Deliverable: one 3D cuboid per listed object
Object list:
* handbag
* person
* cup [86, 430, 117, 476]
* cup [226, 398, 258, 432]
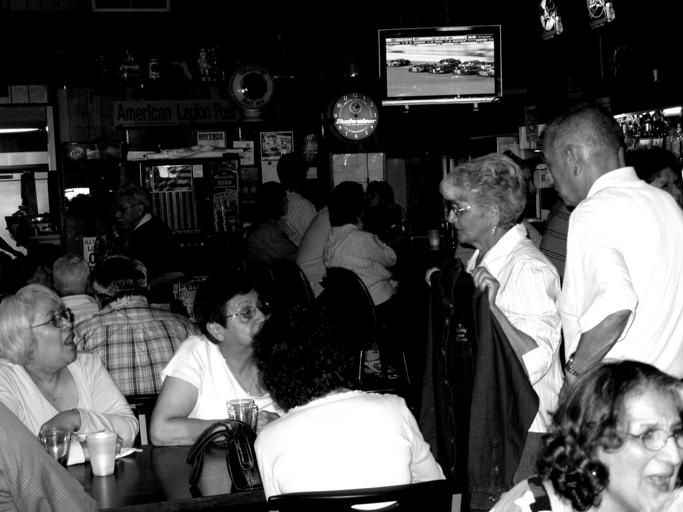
[{"bbox_3d":[-0.436,0.722,2.545,0.255,0.260,0.285,-1,0,-14],"label":"handbag"},{"bbox_3d":[0.500,0.123,2.602,1.523,1.341,0.850,-1,0,-8],"label":"person"},{"bbox_3d":[-0.907,0.747,2.616,0.123,0.163,0.155,-6,-11,20],"label":"cup"},{"bbox_3d":[-0.389,0.615,2.737,0.113,0.151,0.119,-1,-1,0],"label":"cup"}]
